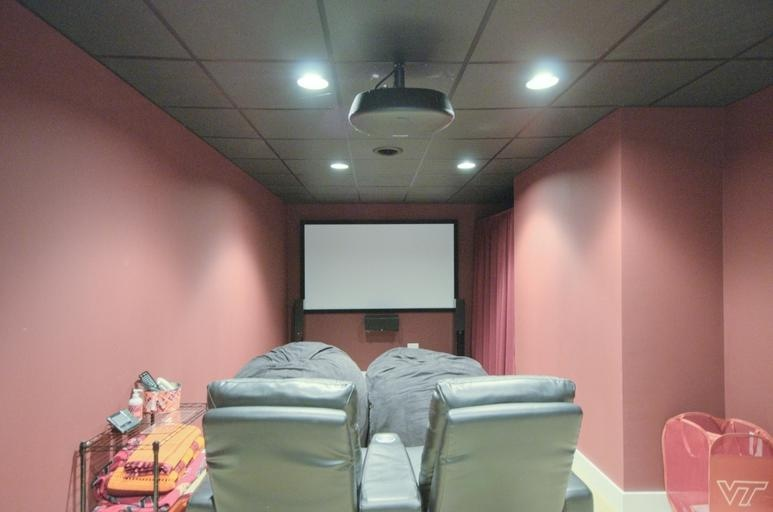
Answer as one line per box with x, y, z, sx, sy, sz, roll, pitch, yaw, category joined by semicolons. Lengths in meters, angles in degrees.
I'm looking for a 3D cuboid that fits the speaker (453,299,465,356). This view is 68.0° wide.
0.999;0.972;7.791;0.128;0.740;0.094;1;-7;3;speaker

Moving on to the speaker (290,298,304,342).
-1.188;0.871;7.786;0.192;0.561;0.163;2;-7;-1;speaker

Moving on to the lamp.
0.105;-1.124;3.985;0.774;0.427;0.752;-1;1;-44;lamp

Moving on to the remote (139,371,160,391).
-1.652;0.890;3.988;0.043;0.146;0.112;-30;5;34;remote
